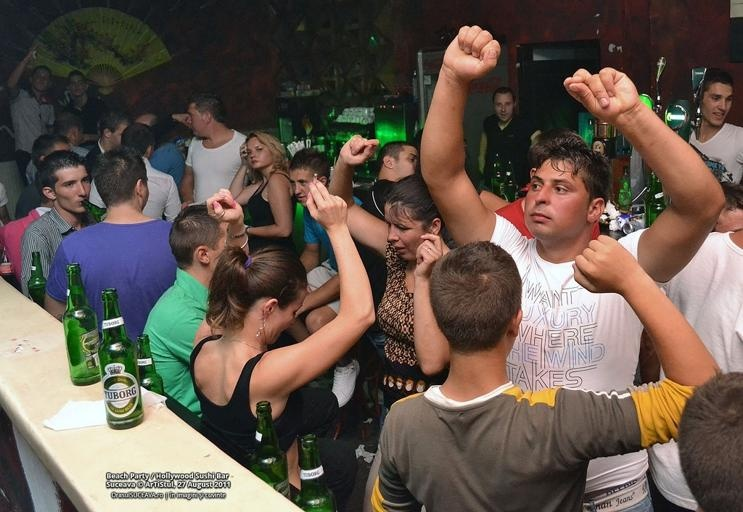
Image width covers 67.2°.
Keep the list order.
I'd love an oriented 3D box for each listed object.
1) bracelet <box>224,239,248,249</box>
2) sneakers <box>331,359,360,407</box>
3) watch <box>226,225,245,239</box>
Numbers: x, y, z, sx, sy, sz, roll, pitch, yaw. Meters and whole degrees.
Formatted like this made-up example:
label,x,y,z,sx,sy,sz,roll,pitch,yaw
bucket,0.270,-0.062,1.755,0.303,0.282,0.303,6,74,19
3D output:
label,x,y,z,sx,sy,sz,roll,pitch,yaw
bracelet,-0.675,-0.049,2.750,0.102,0.053,0.136,-3,3,0
sneakers,-0.192,0.861,3.982,0.144,0.170,0.462,8,28,10
watch,-0.676,-0.114,2.811,0.056,0.041,0.072,-3,5,-36
